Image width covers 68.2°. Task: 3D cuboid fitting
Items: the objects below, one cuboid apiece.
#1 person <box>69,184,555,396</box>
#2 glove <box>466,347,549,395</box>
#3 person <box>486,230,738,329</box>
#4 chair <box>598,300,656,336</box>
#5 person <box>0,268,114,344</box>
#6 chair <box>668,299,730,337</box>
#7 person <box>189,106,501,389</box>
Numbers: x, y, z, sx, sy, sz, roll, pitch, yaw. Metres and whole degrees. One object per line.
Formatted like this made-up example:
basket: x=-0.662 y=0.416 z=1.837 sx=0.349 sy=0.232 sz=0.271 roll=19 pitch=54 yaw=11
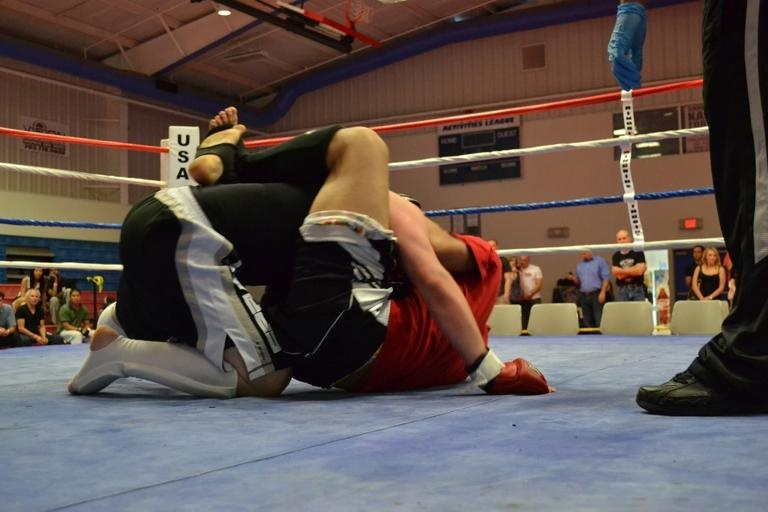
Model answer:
person: x=-0.400 y=0.190 z=1.947 sx=1.229 sy=0.436 sz=0.696 roll=5 pitch=-8 yaw=-32
glove: x=0.353 y=0.342 z=1.659 sx=0.248 sy=0.074 sz=0.119 roll=4 pitch=-8 yaw=-4
person: x=2.820 y=0.292 z=6.781 sx=2.193 sy=0.371 sz=1.279 roll=-4 pitch=-14 yaw=16
chair: x=2.082 y=0.552 z=4.987 sx=0.451 sy=0.381 sz=0.355 roll=-1 pitch=-13 yaw=16
person: x=-4.033 y=0.591 z=6.874 sx=0.876 sy=0.749 sz=1.756 roll=6 pitch=-17 yaw=-30
chair: x=2.780 y=0.534 z=4.805 sx=0.477 sy=0.269 sz=0.480 roll=3 pitch=-7 yaw=-17
person: x=-0.122 y=0.067 z=2.105 sx=1.134 sy=0.884 sz=0.986 roll=2 pitch=-12 yaw=-35
